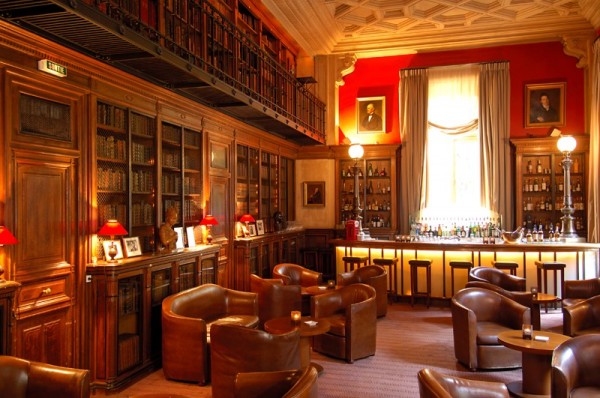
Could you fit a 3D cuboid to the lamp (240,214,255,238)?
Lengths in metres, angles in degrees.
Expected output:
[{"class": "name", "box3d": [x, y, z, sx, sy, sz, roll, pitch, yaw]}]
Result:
[{"class": "lamp", "box3d": [-1.199, 0.586, 10.844, 0.394, 0.606, 0.413, 0, 1, -2]}]

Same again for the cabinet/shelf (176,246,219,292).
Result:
[{"class": "cabinet/shelf", "box3d": [-1.860, 1.243, 8.494, 0.267, 0.708, 0.733, 0, -1, 22]}]

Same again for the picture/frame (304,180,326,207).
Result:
[{"class": "picture/frame", "box3d": [0.455, -0.171, 14.080, 0.671, 0.810, 0.080, 2, 3, 18]}]

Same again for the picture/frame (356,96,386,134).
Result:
[{"class": "picture/frame", "box3d": [2.102, -2.446, 13.992, 0.977, 1.368, 0.097, 1, 0, 14]}]

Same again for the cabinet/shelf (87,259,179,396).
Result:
[{"class": "cabinet/shelf", "box3d": [-2.577, 1.979, 7.245, 0.520, 1.862, 1.814, -1, -2, 14]}]

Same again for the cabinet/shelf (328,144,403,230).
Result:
[{"class": "cabinet/shelf", "box3d": [1.925, -0.356, 13.463, 2.168, 3.945, 0.634, 0, -4, 6]}]

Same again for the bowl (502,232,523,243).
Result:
[{"class": "bowl", "box3d": [4.673, 0.871, 10.623, 0.293, 0.209, 0.293, 4, -6, 0]}]

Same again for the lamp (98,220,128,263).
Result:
[{"class": "lamp", "box3d": [-2.853, 0.600, 7.281, 0.383, 0.617, 0.517, -4, 10, -23]}]

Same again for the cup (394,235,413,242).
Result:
[{"class": "cup", "box3d": [2.462, 0.940, 11.376, 0.204, 0.096, 0.264, 1, 0, -41]}]
